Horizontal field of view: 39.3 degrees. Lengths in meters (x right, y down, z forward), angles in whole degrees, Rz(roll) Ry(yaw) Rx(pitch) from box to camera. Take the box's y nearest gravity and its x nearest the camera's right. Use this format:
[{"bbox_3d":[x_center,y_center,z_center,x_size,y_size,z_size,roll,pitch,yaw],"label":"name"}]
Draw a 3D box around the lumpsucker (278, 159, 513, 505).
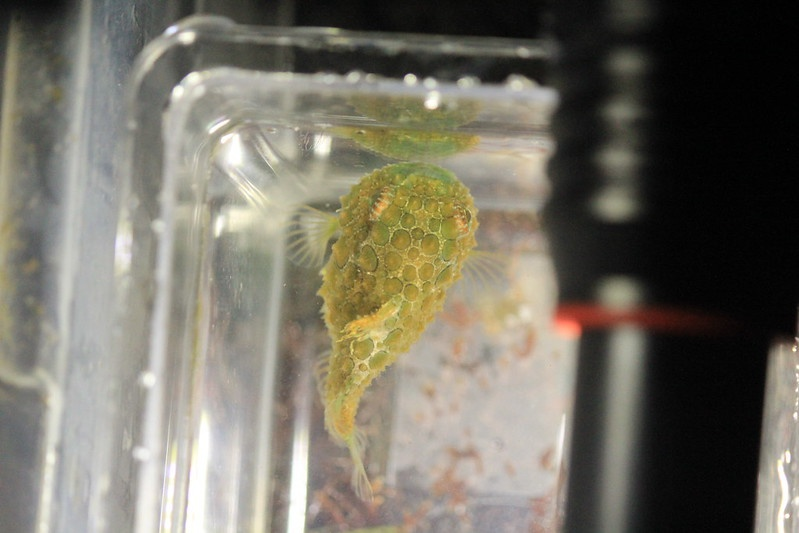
[{"bbox_3d":[-0.024,0.040,1.010,0.204,0.291,0.060,27,11,-6],"label":"lumpsucker"}]
